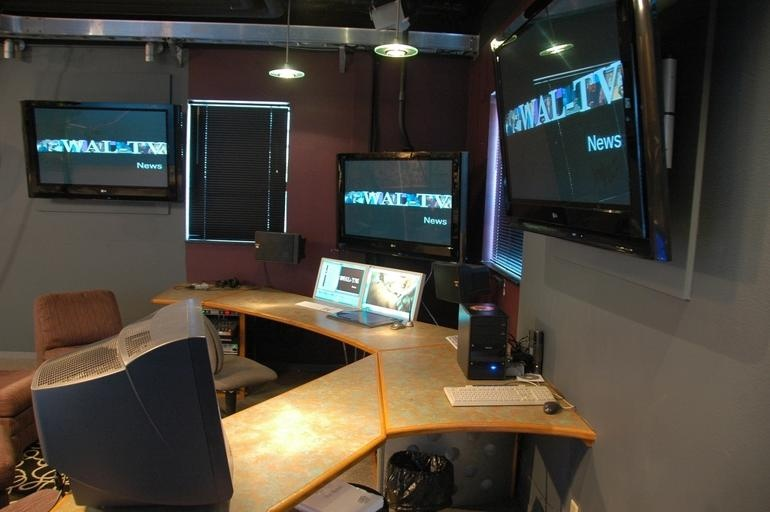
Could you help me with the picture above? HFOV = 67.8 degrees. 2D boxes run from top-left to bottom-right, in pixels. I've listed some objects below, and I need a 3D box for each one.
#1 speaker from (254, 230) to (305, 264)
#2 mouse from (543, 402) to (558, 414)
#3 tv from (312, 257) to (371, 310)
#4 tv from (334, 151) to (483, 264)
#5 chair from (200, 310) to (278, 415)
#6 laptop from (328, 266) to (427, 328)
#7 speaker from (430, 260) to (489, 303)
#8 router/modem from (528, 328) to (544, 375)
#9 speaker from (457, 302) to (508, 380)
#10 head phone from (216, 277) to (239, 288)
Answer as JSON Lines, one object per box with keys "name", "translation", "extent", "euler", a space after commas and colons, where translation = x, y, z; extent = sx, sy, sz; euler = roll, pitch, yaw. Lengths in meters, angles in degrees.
{"name": "speaker", "translation": [-1.040, -0.095, 5.548], "extent": [0.410, 0.281, 0.230], "euler": [4, 8, -1]}
{"name": "mouse", "translation": [0.899, 0.816, 3.090], "extent": [0.062, 0.034, 0.062], "euler": [-4, 5, 27]}
{"name": "tv", "translation": [-0.375, 0.251, 4.985], "extent": [0.430, 0.301, 0.058], "euler": [9, -9, 40]}
{"name": "tv", "translation": [0.124, -0.460, 5.227], "extent": [1.394, 0.954, 0.125], "euler": [7, 13, 37]}
{"name": "chair", "translation": [-1.173, 0.863, 4.304], "extent": [0.642, 0.913, 0.590], "euler": [-1, 9, -8]}
{"name": "laptop", "translation": [-0.117, 0.321, 4.560], "extent": [0.553, 0.381, 0.644], "euler": [-3, 6, -40]}
{"name": "speaker", "translation": [0.576, 0.179, 4.266], "extent": [0.354, 0.270, 0.396], "euler": [-9, 7, -36]}
{"name": "router/modem", "translation": [0.981, 0.611, 3.630], "extent": [0.094, 0.274, 0.163], "euler": [1, -7, 37]}
{"name": "speaker", "translation": [0.586, 0.517, 3.411], "extent": [0.262, 0.427, 0.444], "euler": [0, 5, 1]}
{"name": "head phone", "translation": [-1.524, 0.262, 5.611], "extent": [0.247, 0.101, 0.087], "euler": [2, -1, -6]}
